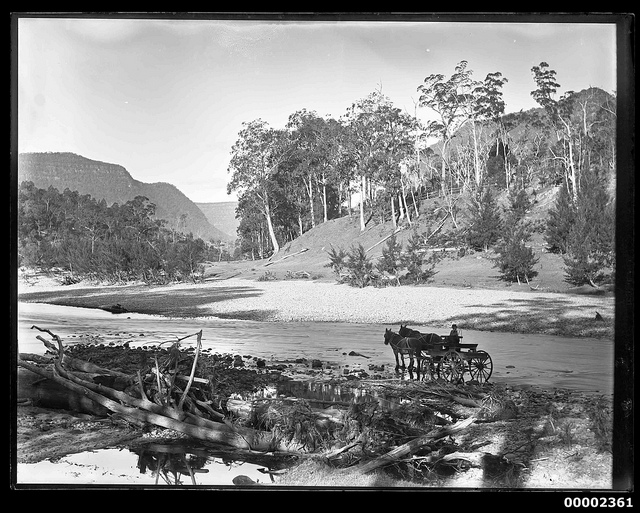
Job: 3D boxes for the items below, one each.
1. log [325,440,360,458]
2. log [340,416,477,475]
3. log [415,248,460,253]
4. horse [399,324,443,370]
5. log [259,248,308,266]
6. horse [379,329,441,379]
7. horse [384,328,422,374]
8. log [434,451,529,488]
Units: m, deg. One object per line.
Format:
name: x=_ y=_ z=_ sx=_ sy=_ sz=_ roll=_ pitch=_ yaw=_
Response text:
log: x=0.341 y=3.083 z=9.677 sx=0.352 sy=0.063 sz=0.096 roll=-28 pitch=-9 yaw=-5
log: x=1.437 y=3.050 z=9.676 sx=1.810 sy=0.279 sz=0.092 roll=-26 pitch=7 yaw=-6
log: x=1.986 y=-0.104 z=10.298 sx=0.725 sy=0.069 sz=0.123 roll=-2 pitch=-3 yaw=9
horse: x=1.679 y=1.519 z=10.038 sx=0.849 sy=0.707 sz=0.232 roll=-2 pitch=1 yaw=32
log: x=-0.604 y=0.023 z=10.739 sx=0.518 sy=0.060 sz=0.057 roll=-28 pitch=38 yaw=-2
horse: x=1.427 y=1.577 z=10.038 sx=0.291 sy=0.628 sz=1.065 roll=2 pitch=-4 yaw=-38
horse: x=1.364 y=1.535 z=9.980 sx=0.754 sy=0.685 sz=0.237 roll=-3 pitch=0 yaw=44
log: x=2.708 y=3.455 z=9.828 sx=1.127 sy=0.394 sz=0.677 roll=11 pitch=11 yaw=2
